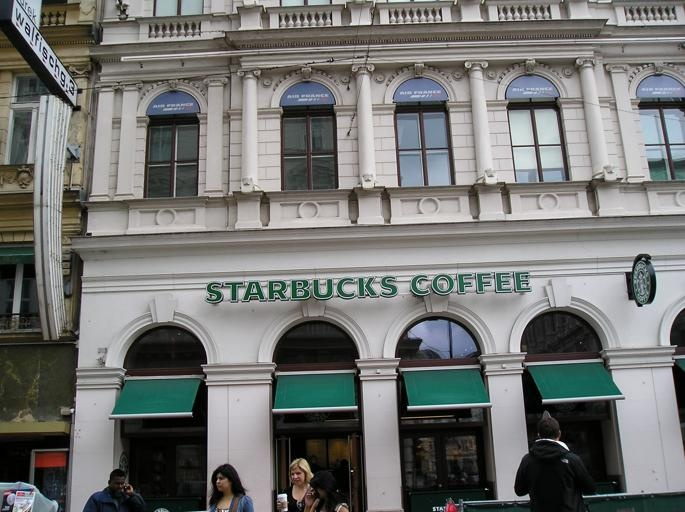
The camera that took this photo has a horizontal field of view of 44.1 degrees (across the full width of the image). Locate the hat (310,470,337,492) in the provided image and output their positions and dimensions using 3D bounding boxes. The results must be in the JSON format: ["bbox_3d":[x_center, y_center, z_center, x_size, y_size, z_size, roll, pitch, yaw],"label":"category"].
[{"bbox_3d":[-0.242,3.317,12.475,0.263,0.300,0.308,4,3,32],"label":"hat"}]
